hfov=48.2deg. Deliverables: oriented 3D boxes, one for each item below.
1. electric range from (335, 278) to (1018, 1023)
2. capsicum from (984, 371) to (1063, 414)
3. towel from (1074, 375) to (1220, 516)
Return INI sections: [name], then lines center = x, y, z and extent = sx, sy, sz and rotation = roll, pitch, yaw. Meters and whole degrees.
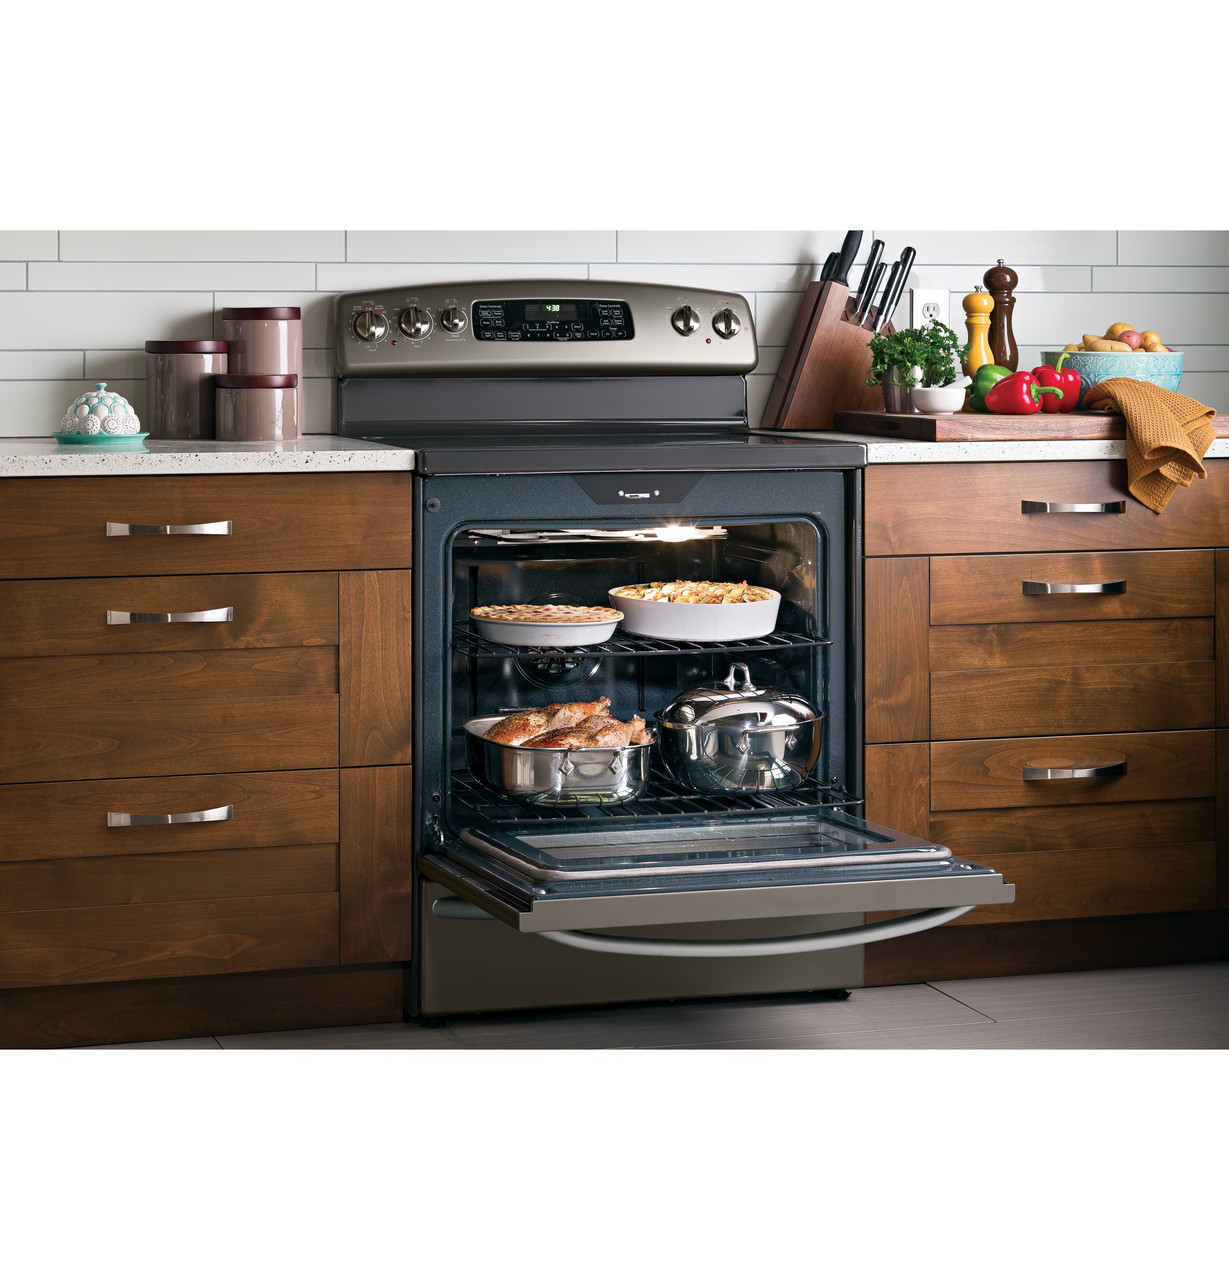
[electric range]
center = 0.062, -0.006, 2.405
extent = 0.916, 1.332, 1.132
rotation = -2, 9, -18
[capsicum]
center = 0.784, -0.468, 2.612
extent = 0.117, 0.055, 0.051
rotation = -16, 42, 21
[towel]
center = 0.929, -0.363, 2.549
extent = 0.281, 0.086, 0.260
rotation = 16, 28, 25
